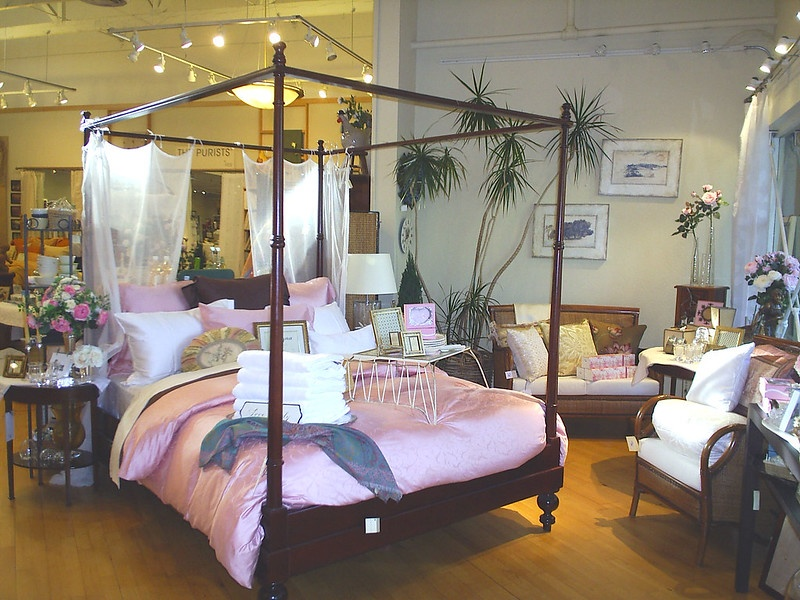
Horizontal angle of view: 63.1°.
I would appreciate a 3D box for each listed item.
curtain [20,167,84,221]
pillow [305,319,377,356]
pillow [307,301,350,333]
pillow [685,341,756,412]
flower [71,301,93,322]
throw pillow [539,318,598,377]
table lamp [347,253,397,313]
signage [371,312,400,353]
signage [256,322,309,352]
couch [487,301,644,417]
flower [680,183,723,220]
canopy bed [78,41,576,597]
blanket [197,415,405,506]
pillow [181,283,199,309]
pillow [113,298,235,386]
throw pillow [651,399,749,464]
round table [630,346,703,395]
[{"bbox_3d":[-6.332,-2.003,11.809,1.476,0.842,0.449,9,15,29],"label":"curtain"},{"bbox_3d":[-0.457,0.340,5.175,0.161,0.273,0.746,-25,-12,40],"label":"pillow"},{"bbox_3d":[-0.632,0.176,5.784,0.063,0.255,0.265,-30,-13,39],"label":"pillow"},{"bbox_3d":[2.256,0.582,4.678,0.285,0.481,0.564,3,-8,-6],"label":"pillow"},{"bbox_3d":[-2.386,0.089,4.881,0.124,0.130,0.059,3,-13,-29],"label":"flower"},{"bbox_3d":[1.736,0.471,6.537,0.601,0.511,0.275,-7,8,-30],"label":"throw pillow"},{"bbox_3d":[-0.289,-0.211,6.173,0.390,0.431,0.389,-6,11,-24],"label":"table lamp"},{"bbox_3d":[-0.104,0.243,5.018,0.297,0.348,0.033,-1,-4,-42],"label":"signage"},{"bbox_3d":[-0.796,0.255,4.483,0.230,0.236,0.018,0,-1,-8],"label":"signage"},{"bbox_3d":[1.756,0.641,6.534,1.519,1.107,0.883,1,0,-2],"label":"couch"},{"bbox_3d":[3.116,-1.018,6.718,0.347,0.338,0.408,9,15,28],"label":"flower"},{"bbox_3d":[-0.313,0.167,5.603,3.147,3.709,3.509,-3,4,-43],"label":"canopy bed"},{"bbox_3d":[-0.562,0.846,3.777,0.702,0.236,0.666,2,0,6],"label":"blanket"},{"bbox_3d":[-1.781,-0.039,5.552,0.062,0.212,0.179,-19,-7,42],"label":"pillow"},{"bbox_3d":[-1.697,0.341,5.200,0.981,0.614,0.321,-7,5,-38],"label":"pillow"},{"bbox_3d":[1.955,0.842,4.412,0.376,0.149,0.361,-16,14,-11],"label":"throw pillow"},{"bbox_3d":[2.378,0.569,5.680,0.451,0.427,0.439,2,5,0],"label":"round table"}]
